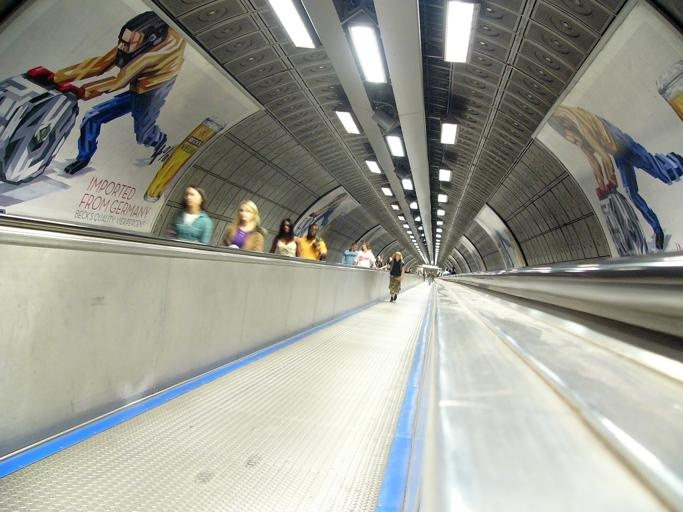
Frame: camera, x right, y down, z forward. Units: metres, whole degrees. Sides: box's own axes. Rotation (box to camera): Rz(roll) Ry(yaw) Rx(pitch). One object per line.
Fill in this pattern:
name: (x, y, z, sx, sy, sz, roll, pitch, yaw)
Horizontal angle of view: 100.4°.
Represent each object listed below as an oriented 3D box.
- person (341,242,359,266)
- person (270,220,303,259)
person: (0.408, -0.017, 10.967, 0.504, 0.804, 0.823, 7, -1, 12)
person: (-1.284, -0.478, 7.169, 0.615, 0.999, 2.074, 8, -2, -9)
